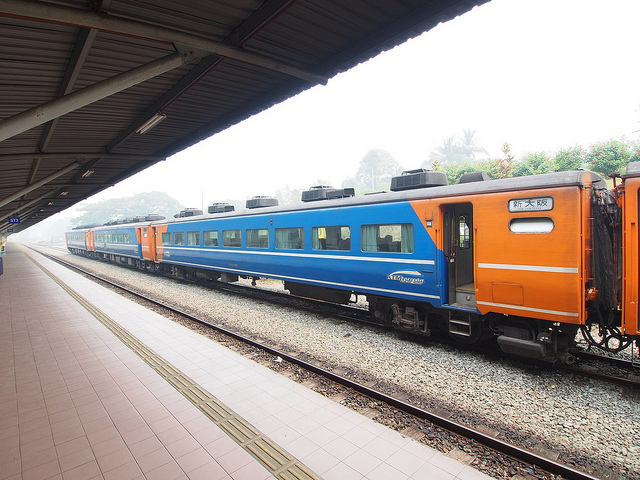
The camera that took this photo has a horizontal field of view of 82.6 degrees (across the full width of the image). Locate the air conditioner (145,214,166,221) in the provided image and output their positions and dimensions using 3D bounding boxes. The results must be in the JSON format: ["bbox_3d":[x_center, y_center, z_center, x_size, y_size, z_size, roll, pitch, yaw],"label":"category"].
[{"bbox_3d":[-10.351,-1.330,22.834,1.313,0.401,0.998,0,-1,6],"label":"air conditioner"}]

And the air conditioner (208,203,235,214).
[{"bbox_3d":[-4.517,-1.385,16.609,0.855,0.328,0.818,-2,4,-34],"label":"air conditioner"}]
